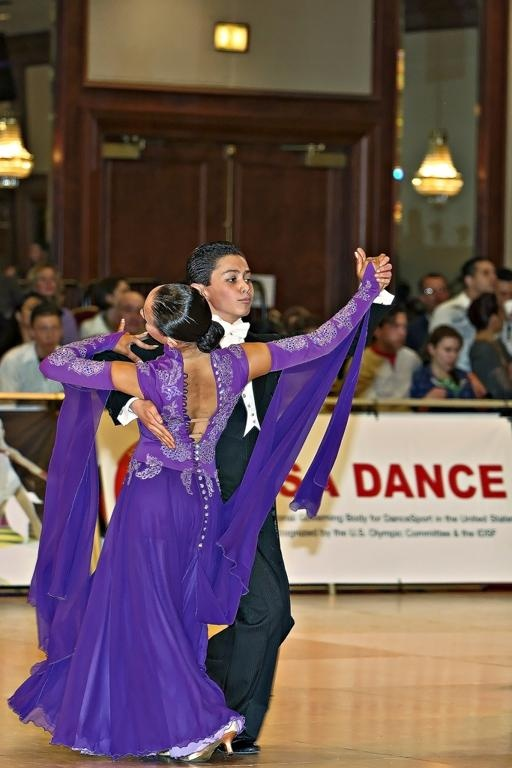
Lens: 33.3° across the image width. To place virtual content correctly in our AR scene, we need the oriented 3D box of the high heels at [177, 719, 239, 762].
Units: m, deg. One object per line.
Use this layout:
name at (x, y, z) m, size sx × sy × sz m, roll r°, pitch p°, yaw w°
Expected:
high heels at (-0.105, 0.972, 2.313) m, size 0.202 × 0.081 × 0.094 m, roll -10°, pitch -5°, yaw 6°

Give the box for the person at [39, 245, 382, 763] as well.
person at (-0.218, 0.381, 2.518) m, size 0.939 × 1.360 × 0.590 m, roll 4°, pitch -3°, yaw 3°
